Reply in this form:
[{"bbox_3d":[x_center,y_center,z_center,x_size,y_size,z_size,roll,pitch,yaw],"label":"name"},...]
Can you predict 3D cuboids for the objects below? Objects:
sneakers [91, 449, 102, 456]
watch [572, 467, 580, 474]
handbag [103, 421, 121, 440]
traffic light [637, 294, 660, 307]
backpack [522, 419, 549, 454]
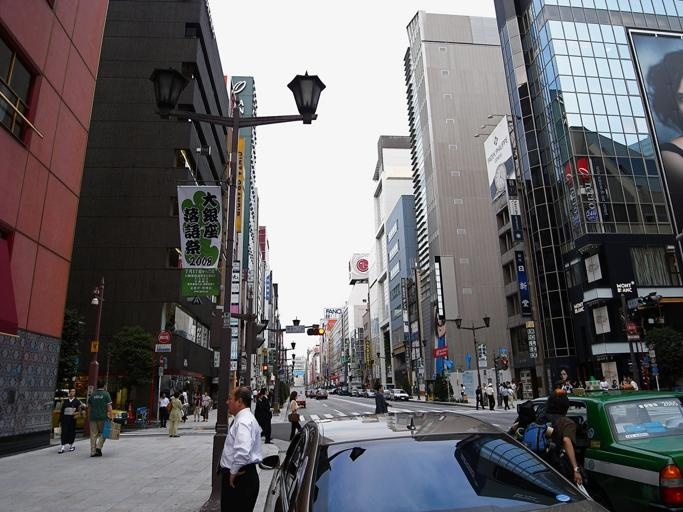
[{"bbox_3d":[-7.936,6.447,14.594,0.262,0.321,0.188,1,-2,-23],"label":"sneakers"},{"bbox_3d":[3.248,2.983,6.237,0.047,0.059,0.051,1,-5,-31],"label":"watch"},{"bbox_3d":[-7.213,5.482,14.146,0.458,0.554,0.731,5,-20,-29],"label":"handbag"},{"bbox_3d":[22.142,3.225,32.439,1.258,0.802,1.785,-1,0,-19],"label":"traffic light"},{"bbox_3d":[2.963,2.802,6.975,0.395,0.525,0.337,5,-9,-3],"label":"backpack"}]
